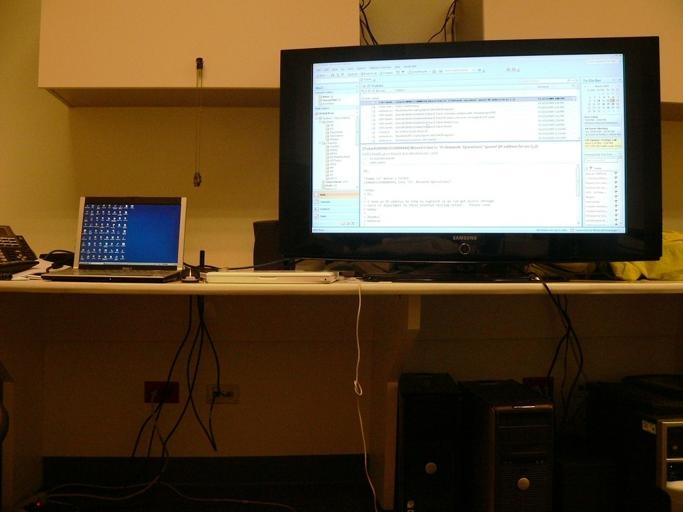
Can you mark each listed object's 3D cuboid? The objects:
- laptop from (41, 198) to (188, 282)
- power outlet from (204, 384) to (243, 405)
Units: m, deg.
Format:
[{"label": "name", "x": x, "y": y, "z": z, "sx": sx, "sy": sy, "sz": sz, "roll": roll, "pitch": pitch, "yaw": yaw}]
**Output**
[{"label": "laptop", "x": -0.813, "y": -0.072, "z": 2.602, "sx": 0.405, "sy": 0.288, "sz": 0.326, "roll": 1, "pitch": 3, "yaw": 4}, {"label": "power outlet", "x": -0.511, "y": 0.579, "z": 2.983, "sx": 0.143, "sy": 0.086, "sz": 0.034, "roll": 1, "pitch": 0, "yaw": -3}]
